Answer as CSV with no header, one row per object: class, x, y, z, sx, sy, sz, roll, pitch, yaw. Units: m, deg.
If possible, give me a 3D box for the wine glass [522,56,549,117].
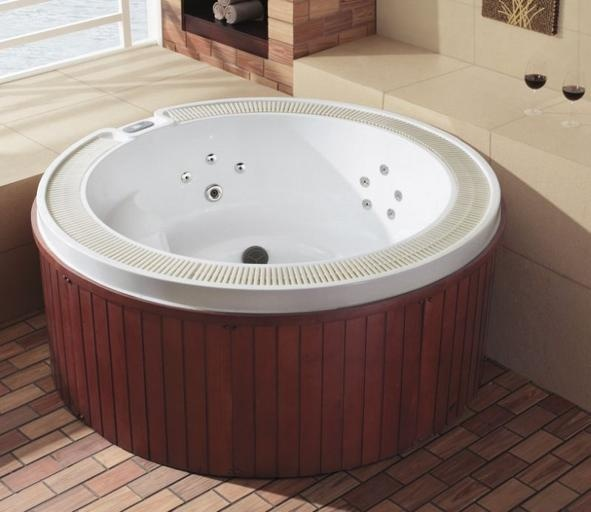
wine glass,0.922,-0.659,2.240,0.084,0.191,0.341,11,30,20
